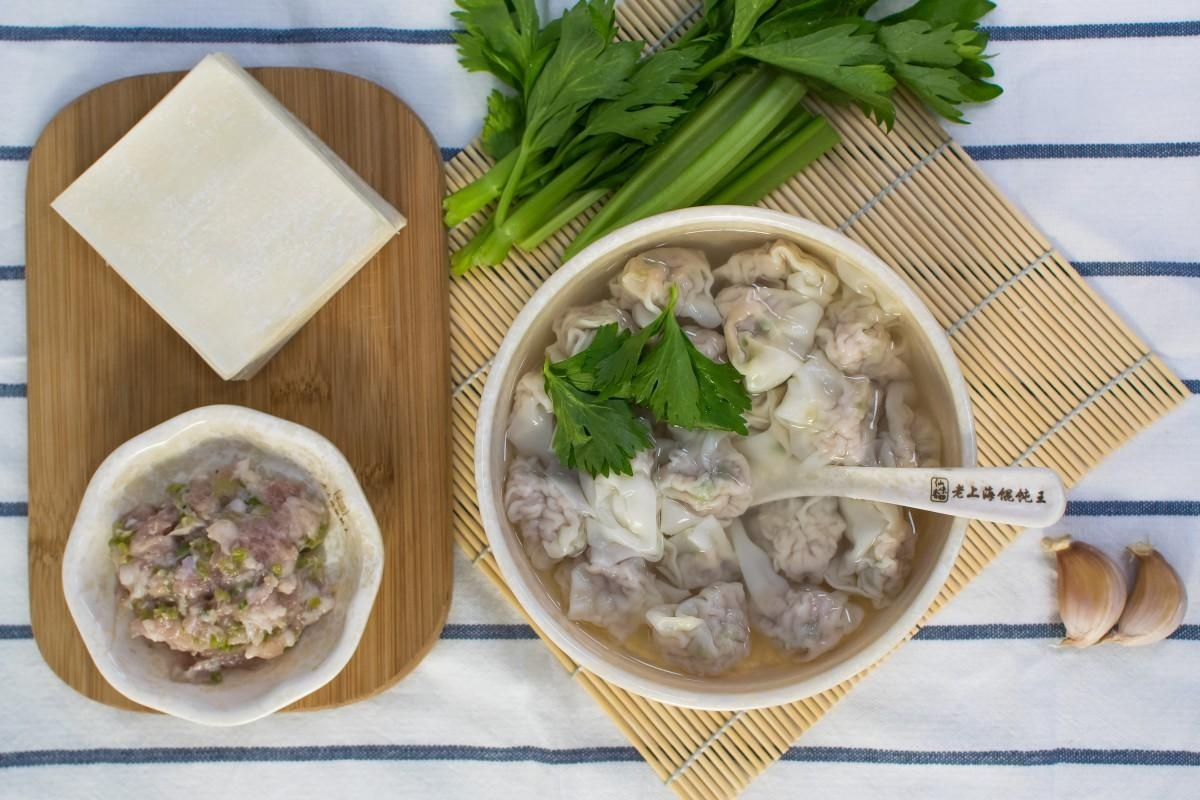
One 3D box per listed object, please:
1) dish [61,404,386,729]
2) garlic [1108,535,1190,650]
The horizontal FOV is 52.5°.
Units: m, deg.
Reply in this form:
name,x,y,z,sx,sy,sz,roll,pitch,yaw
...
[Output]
name,x,y,z,sx,sy,sz,roll,pitch,yaw
dish,-0.948,0.422,3.118,0.775,0.270,0.762,-25,84,-2
garlic,1.579,0.558,3.504,0.239,0.115,0.271,-2,94,5
